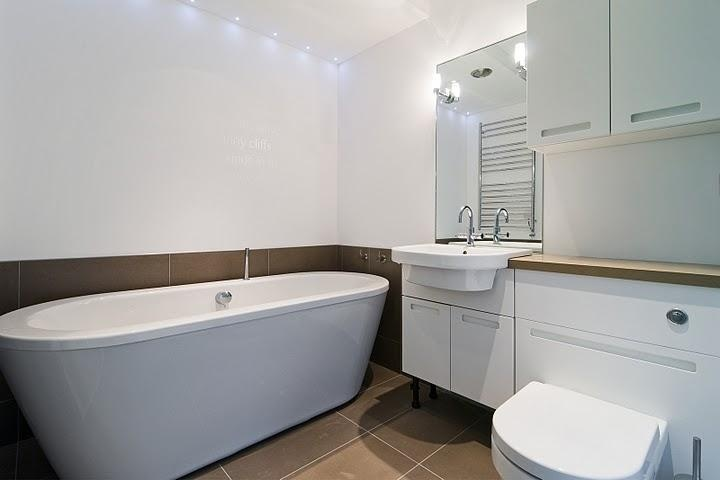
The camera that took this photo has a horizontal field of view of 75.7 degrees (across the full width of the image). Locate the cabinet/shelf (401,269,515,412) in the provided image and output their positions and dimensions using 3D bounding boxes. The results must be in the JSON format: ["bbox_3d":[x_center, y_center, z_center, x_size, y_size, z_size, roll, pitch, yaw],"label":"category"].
[{"bbox_3d":[0.664,0.629,3.075,0.977,1.007,0.500,-1,-1,45],"label":"cabinet/shelf"}]

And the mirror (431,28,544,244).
[{"bbox_3d":[0.912,-0.704,3.376,0.847,1.440,0.137,5,9,38],"label":"mirror"}]

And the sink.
[{"bbox_3d":[0.676,0.194,3.140,0.794,0.283,0.573,4,8,39],"label":"sink"}]
